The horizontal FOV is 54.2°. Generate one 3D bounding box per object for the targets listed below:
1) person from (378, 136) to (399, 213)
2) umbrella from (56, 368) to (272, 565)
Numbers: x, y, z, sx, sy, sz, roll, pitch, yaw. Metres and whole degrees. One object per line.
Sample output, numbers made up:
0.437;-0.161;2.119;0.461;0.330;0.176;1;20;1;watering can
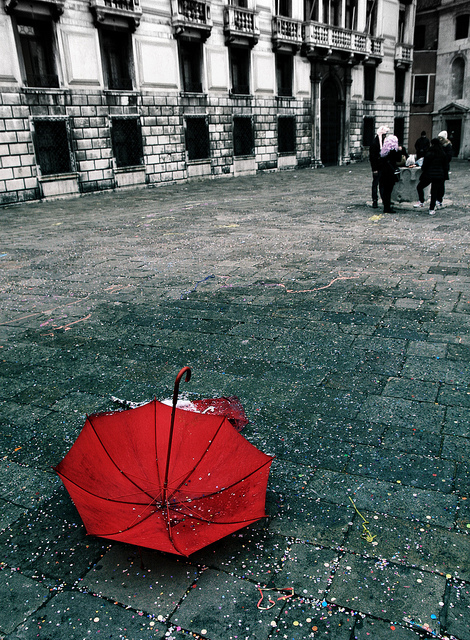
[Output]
3.541;-3.421;10.575;0.397;1.505;0.888;0;19;17;person
-0.347;0.592;2.059;0.934;0.490;0.696;8;22;35;umbrella
